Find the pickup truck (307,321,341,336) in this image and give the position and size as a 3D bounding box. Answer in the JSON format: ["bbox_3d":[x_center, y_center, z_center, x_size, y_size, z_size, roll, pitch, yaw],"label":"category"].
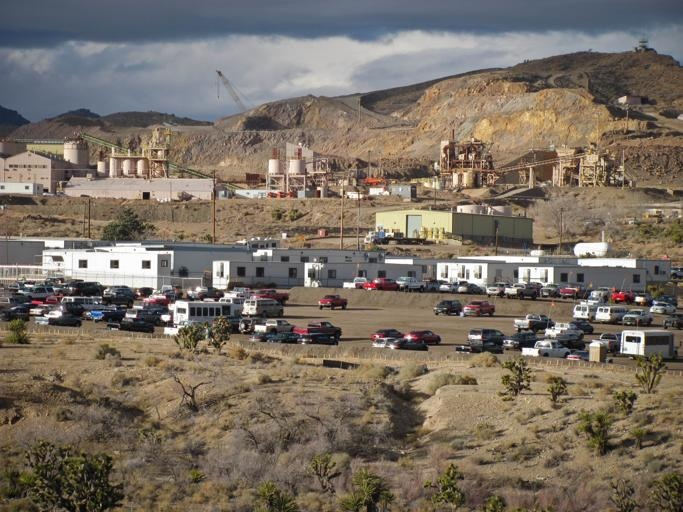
[{"bbox_3d":[-1.300,6.133,118.675,2.446,0.995,1.198,-1,3,-11],"label":"pickup truck"}]

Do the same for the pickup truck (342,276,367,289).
[{"bbox_3d":[1.274,2.861,142.816,1.096,0.837,1.940,0,-3,-38],"label":"pickup truck"}]

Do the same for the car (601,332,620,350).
[{"bbox_3d":[21.708,7.167,115.804,1.545,1.353,2.306,0,-1,10],"label":"car"}]

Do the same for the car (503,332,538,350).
[{"bbox_3d":[14.546,6.988,115.457,1.181,0.975,2.823,2,4,39],"label":"car"}]

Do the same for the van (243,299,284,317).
[{"bbox_3d":[-6.961,4.825,128.506,3.061,1.223,1.658,-4,5,-31],"label":"van"}]

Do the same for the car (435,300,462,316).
[{"bbox_3d":[9.975,4.900,132.259,1.265,1.101,2.231,-4,-9,42],"label":"car"}]

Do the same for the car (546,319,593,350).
[{"bbox_3d":[18.831,6.659,118.370,1.884,1.507,4.144,3,7,36],"label":"car"}]

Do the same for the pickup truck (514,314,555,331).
[{"bbox_3d":[16.756,5.907,123.367,3.054,1.101,1.442,-4,6,-38],"label":"pickup truck"}]

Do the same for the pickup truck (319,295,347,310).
[{"bbox_3d":[-0.818,4.550,135.814,2.614,1.326,2.581,1,-1,-1],"label":"pickup truck"}]

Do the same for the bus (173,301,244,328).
[{"bbox_3d":[-11.112,5.006,120.511,6.081,2.068,3.489,1,-1,-20],"label":"bus"}]

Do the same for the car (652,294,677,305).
[{"bbox_3d":[31.126,4.298,136.824,1.361,0.811,2.063,-1,-8,43],"label":"car"}]

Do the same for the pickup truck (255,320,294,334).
[{"bbox_3d":[-5.700,6.053,119.211,2.561,1.090,1.340,-4,5,-31],"label":"pickup truck"}]

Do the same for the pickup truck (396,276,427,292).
[{"bbox_3d":[6.873,2.984,141.881,2.263,1.068,1.404,-1,3,-6],"label":"pickup truck"}]

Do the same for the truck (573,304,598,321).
[{"bbox_3d":[21.966,5.194,128.183,1.214,0.939,1.919,4,6,34],"label":"truck"}]

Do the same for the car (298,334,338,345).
[{"bbox_3d":[-2.059,6.975,116.696,2.276,0.822,1.256,-1,2,-15],"label":"car"}]

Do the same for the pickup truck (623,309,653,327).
[{"bbox_3d":[26.411,5.671,126.992,1.264,0.978,2.476,-1,-6,30],"label":"pickup truck"}]

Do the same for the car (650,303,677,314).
[{"bbox_3d":[29.816,4.964,132.662,0.986,0.693,2.217,-1,-5,33],"label":"car"}]

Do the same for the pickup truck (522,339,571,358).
[{"bbox_3d":[16.052,7.526,112.857,3.344,1.419,1.541,-3,5,-22],"label":"pickup truck"}]

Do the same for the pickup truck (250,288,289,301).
[{"bbox_3d":[-6.680,3.795,136.116,2.739,0.985,1.284,7,-6,-28],"label":"pickup truck"}]

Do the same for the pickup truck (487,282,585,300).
[{"bbox_3d":[18.833,3.516,138.623,9.260,1.424,3.279,1,-1,-16],"label":"pickup truck"}]

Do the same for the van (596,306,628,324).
[{"bbox_3d":[24.275,5.360,127.827,1.306,1.219,2.685,4,8,40],"label":"van"}]

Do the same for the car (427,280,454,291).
[{"bbox_3d":[9.738,3.071,141.653,2.210,0.812,1.073,-1,1,32],"label":"car"}]

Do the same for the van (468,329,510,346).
[{"bbox_3d":[11.800,6.687,115.811,2.461,1.114,1.342,-4,5,-24],"label":"van"}]
